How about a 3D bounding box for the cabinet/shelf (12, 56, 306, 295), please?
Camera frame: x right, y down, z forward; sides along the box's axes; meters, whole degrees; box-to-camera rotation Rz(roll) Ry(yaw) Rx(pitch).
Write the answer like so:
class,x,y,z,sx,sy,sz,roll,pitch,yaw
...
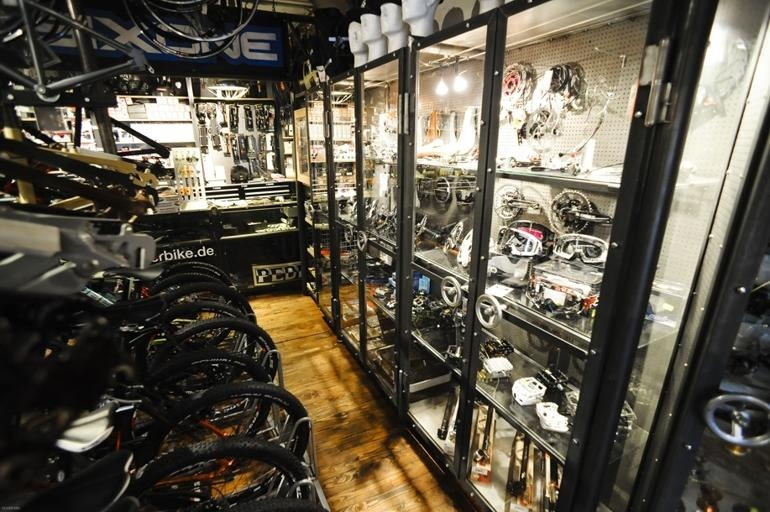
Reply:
class,x,y,z,sx,sy,sz,roll,pitch,yaw
cabinet/shelf,-1.838,-0.792,3.980,2.358,2.101,0.741,-10,17,-39
